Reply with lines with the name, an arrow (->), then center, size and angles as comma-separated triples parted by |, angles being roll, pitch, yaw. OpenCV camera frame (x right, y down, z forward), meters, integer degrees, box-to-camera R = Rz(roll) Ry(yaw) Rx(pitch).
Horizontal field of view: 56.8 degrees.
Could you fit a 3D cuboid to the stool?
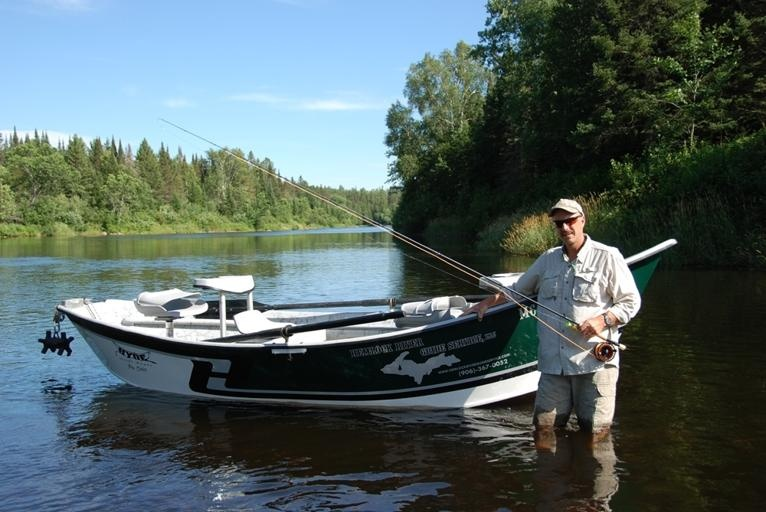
stool -> -3.069, 0.889, 11.788 | 1.902, 1.035, 1.288 | 3, 5, 24
